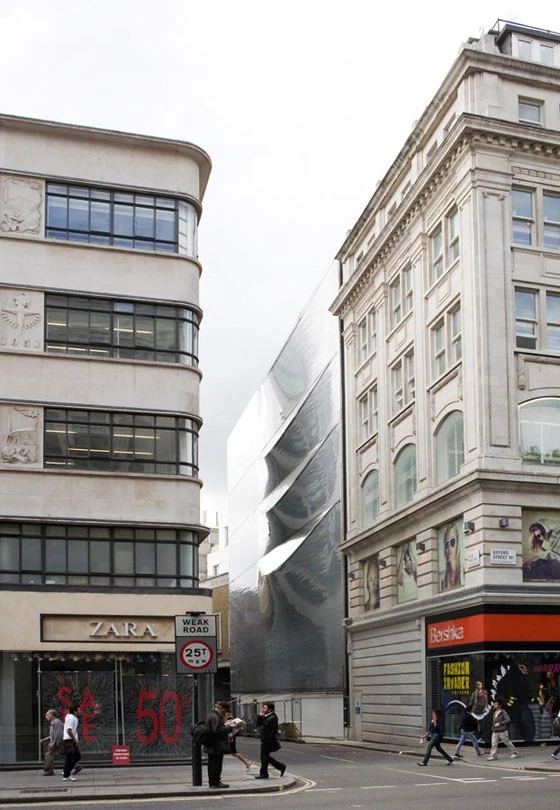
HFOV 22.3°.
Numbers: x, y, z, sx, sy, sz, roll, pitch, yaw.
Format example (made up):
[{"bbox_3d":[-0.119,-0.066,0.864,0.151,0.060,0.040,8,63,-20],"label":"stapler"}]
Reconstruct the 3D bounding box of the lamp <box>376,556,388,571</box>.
[{"bbox_3d":[3.800,6.153,54.294,0.362,0.396,0.346,-5,-4,9],"label":"lamp"}]

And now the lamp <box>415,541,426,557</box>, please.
[{"bbox_3d":[4.745,5.144,49.016,0.357,0.769,0.691,-1,-4,5],"label":"lamp"}]

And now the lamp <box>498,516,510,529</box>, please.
[{"bbox_3d":[6.688,3.636,43.155,0.349,0.324,0.342,-2,-16,1],"label":"lamp"}]

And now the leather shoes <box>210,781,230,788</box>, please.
[{"bbox_3d":[-1.321,8.333,30.612,0.443,0.207,0.157,-1,1,-5],"label":"leather shoes"}]

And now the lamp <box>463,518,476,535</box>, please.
[{"bbox_3d":[5.734,3.869,43.751,0.313,0.431,0.611,-1,-6,-5],"label":"lamp"}]

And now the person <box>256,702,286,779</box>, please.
[{"bbox_3d":[-0.280,7.938,33.151,0.607,1.813,1.363,-1,-15,0],"label":"person"}]

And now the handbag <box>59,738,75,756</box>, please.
[{"bbox_3d":[-4.866,7.944,32.773,0.460,0.466,0.294,-1,-6,6],"label":"handbag"}]

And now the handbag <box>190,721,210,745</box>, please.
[{"bbox_3d":[-1.743,7.183,30.786,0.420,0.465,0.461,11,-7,-3],"label":"handbag"}]

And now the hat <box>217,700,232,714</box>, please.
[{"bbox_3d":[-1.272,6.749,31.274,0.337,0.367,0.275,5,-8,-29],"label":"hat"}]
